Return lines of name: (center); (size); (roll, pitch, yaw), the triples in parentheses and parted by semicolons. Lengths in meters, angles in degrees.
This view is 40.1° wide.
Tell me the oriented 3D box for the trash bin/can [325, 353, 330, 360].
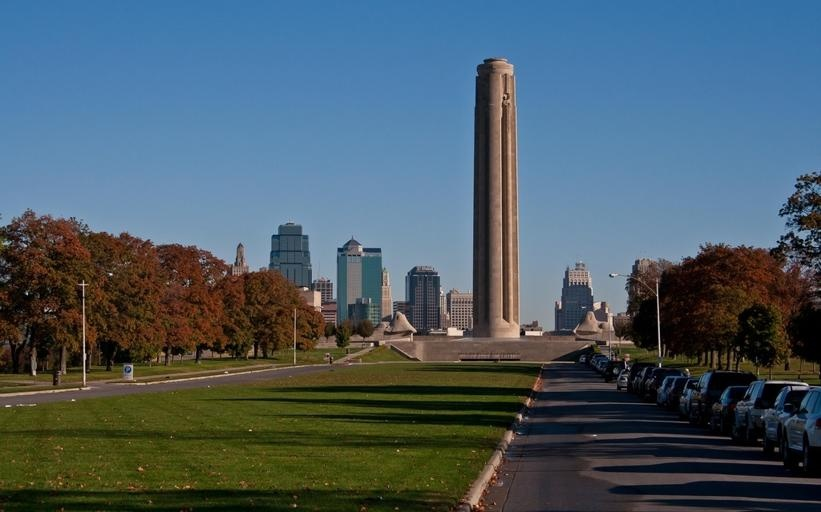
trash bin/can: (-10.797, 13.034, 146.720); (0.776, 0.676, 0.737); (-1, -3, 5)
